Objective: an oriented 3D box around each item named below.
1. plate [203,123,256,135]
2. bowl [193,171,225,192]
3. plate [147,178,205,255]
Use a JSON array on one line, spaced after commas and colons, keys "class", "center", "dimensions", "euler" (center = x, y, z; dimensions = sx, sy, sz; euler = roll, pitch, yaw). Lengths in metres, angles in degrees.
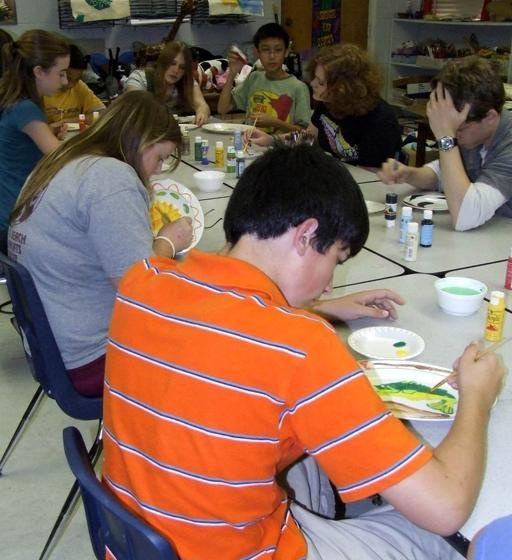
[{"class": "plate", "center": [-0.257, -1.197, 3.945], "dimensions": [0.338, 0.044, 0.333], "euler": [-16, 25, -42]}, {"class": "bowl", "center": [-0.259, -0.527, 2.605], "dimensions": [0.132, 0.061, 0.129], "euler": [0, 29, 0]}, {"class": "plate", "center": [-0.375, -0.262, 2.112], "dimensions": [0.325, 0.302, 0.044], "euler": [-9, 7, 38]}]
